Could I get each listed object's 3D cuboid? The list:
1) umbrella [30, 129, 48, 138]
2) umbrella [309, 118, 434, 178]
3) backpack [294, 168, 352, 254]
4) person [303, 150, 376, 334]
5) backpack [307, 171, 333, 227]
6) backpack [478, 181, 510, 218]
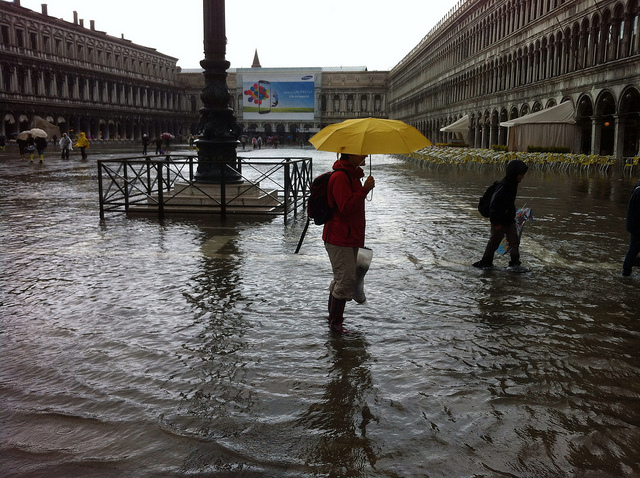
[{"bbox_3d":[-19.206,-7.195,34.724,0.886,0.553,1.255,-6,14,-28],"label":"umbrella"},{"bbox_3d":[0.563,-1.003,5.535,1.282,0.531,1.158,-18,26,-35],"label":"umbrella"},{"bbox_3d":[0.044,-0.227,5.307,0.600,0.994,0.302,9,21,15],"label":"backpack"},{"bbox_3d":[0.220,-0.009,5.462,0.706,1.887,0.949,1,12,5],"label":"person"},{"bbox_3d":[0.014,-0.405,5.218,0.246,0.544,0.237,1,12,1],"label":"backpack"},{"bbox_3d":[2.588,-0.589,7.684,0.294,0.583,0.599,-1,12,-8],"label":"backpack"}]
